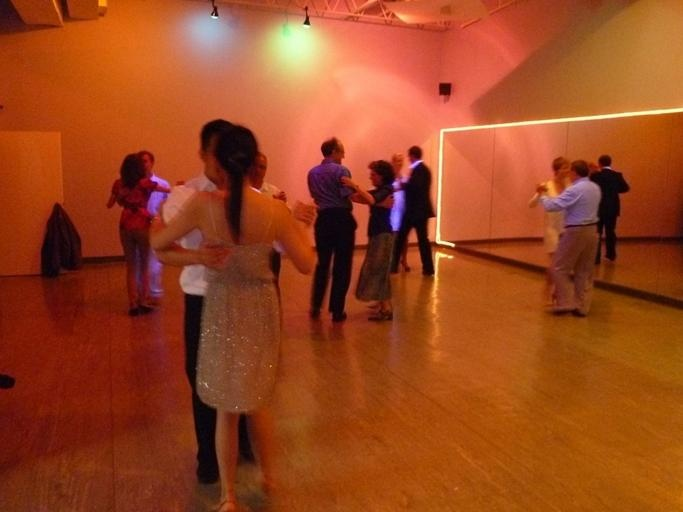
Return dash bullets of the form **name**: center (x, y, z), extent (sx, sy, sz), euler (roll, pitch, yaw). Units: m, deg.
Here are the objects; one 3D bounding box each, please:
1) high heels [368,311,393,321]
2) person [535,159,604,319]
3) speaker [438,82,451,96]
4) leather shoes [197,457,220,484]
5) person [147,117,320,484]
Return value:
- **high heels**: center (0.450, 0.678, 5.759), extent (0.221, 0.095, 0.118), euler (4, -3, 0)
- **person**: center (2.653, -0.191, 5.792), extent (0.603, 1.788, 0.320), euler (5, 11, 19)
- **speaker**: center (2.152, -3.507, 10.463), extent (0.201, 0.308, 0.280), euler (-2, 11, -20)
- **leather shoes**: center (-0.768, 1.236, 2.940), extent (0.131, 0.139, 0.138), euler (-1, 6, -5)
- **person**: center (-0.521, 0.329, 2.497), extent (0.777, 1.897, 0.239), euler (-2, 10, -17)
